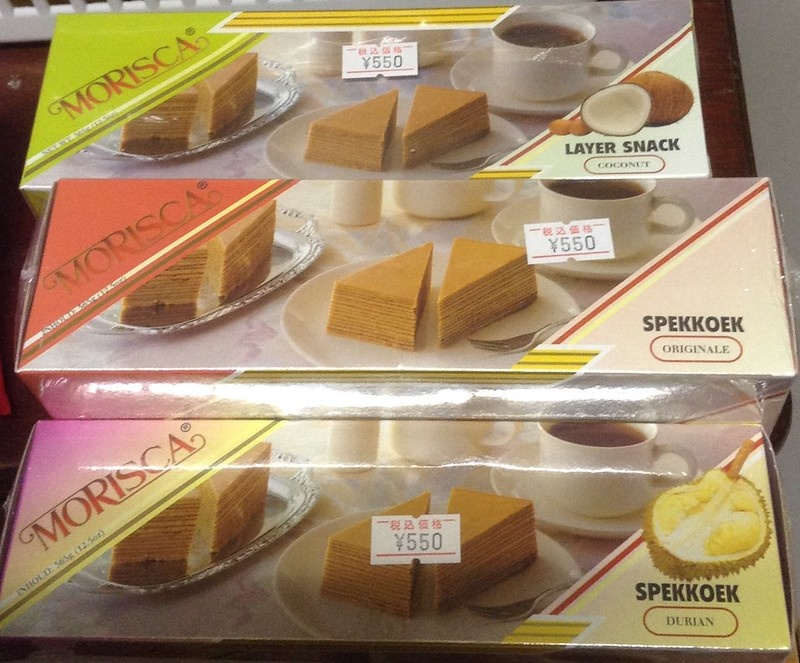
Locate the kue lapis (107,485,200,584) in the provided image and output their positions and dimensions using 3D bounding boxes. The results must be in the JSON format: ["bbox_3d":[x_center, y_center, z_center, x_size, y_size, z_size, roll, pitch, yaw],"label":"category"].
[{"bbox_3d":[-0.247,0.227,0.746,0.106,0.023,0.083,-26,48,35],"label":"kue lapis"}]

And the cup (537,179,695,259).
[{"bbox_3d":[0.275,-0.141,0.816,0.190,0.065,0.096,3,40,12],"label":"cup"}]

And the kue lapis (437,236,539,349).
[{"bbox_3d":[0.117,-0.039,0.807,0.151,0.056,0.121,0,39,21],"label":"kue lapis"}]

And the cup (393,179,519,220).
[{"bbox_3d":[0.067,-0.164,0.832,0.123,0.040,0.063,-4,18,-8],"label":"cup"}]

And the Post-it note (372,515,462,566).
[{"bbox_3d":[0.018,0.221,0.718,0.116,0.002,0.052,-14,60,34],"label":"Post-it note"}]

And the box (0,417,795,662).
[{"bbox_3d":[0.018,0.324,1.110,1.080,0.089,0.221,-1,69,2],"label":"box"}]

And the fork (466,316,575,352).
[{"bbox_3d":[0.139,0.004,0.764,0.141,0.017,0.014,-10,79,-7],"label":"fork"}]

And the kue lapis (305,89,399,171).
[{"bbox_3d":[-0.058,-0.255,0.880,0.101,0.032,0.112,26,55,23],"label":"kue lapis"}]

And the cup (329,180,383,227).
[{"bbox_3d":[-0.041,-0.167,0.859,0.072,0.056,0.069,-1,15,0],"label":"cup"}]

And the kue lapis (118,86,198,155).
[{"bbox_3d":[-0.311,-0.274,0.885,0.093,0.057,0.089,0,45,2],"label":"kue lapis"}]
